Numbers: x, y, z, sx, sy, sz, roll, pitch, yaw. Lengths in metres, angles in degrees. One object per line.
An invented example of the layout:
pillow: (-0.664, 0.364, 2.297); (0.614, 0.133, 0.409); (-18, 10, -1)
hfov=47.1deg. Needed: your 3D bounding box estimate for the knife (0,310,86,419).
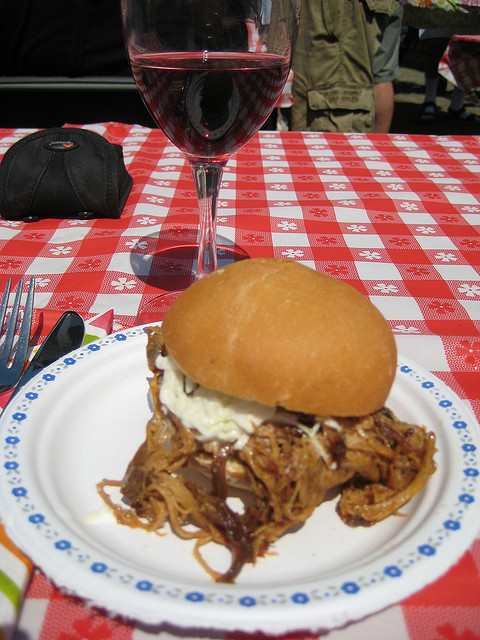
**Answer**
knife: (-0.311, 0.063, 0.937); (0.037, 0.027, 0.234); (15, 35, 14)
